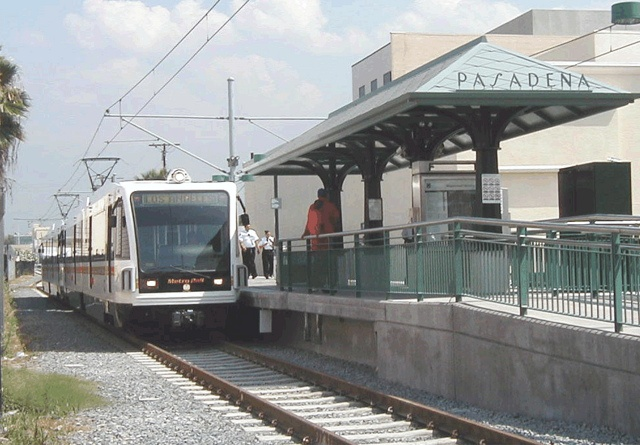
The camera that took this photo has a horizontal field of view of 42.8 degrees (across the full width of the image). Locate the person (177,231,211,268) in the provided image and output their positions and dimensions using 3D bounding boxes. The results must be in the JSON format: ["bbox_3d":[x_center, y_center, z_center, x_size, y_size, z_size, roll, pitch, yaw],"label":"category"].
[{"bbox_3d":[-2.889,0.638,18.768,0.760,0.825,0.187,-1,-2,-14],"label":"person"}]

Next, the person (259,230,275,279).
[{"bbox_3d":[-1.881,1.104,28.585,0.496,1.665,1.556,-1,-2,-4],"label":"person"}]
